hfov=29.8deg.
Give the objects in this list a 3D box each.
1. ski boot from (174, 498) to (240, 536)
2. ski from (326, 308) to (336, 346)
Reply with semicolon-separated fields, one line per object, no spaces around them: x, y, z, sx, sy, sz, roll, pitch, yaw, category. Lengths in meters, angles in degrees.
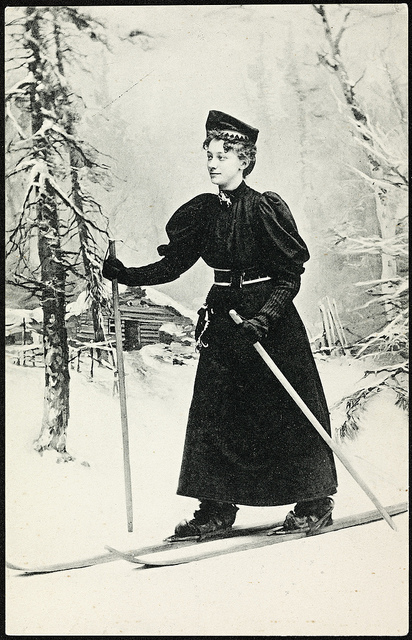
0.019;1.070;4.169;0.370;0.149;0.182;-4;9;-35;ski boot
0.697;0.037;4.320;0.034;0.226;0.010;-6;-4;-17;ski
